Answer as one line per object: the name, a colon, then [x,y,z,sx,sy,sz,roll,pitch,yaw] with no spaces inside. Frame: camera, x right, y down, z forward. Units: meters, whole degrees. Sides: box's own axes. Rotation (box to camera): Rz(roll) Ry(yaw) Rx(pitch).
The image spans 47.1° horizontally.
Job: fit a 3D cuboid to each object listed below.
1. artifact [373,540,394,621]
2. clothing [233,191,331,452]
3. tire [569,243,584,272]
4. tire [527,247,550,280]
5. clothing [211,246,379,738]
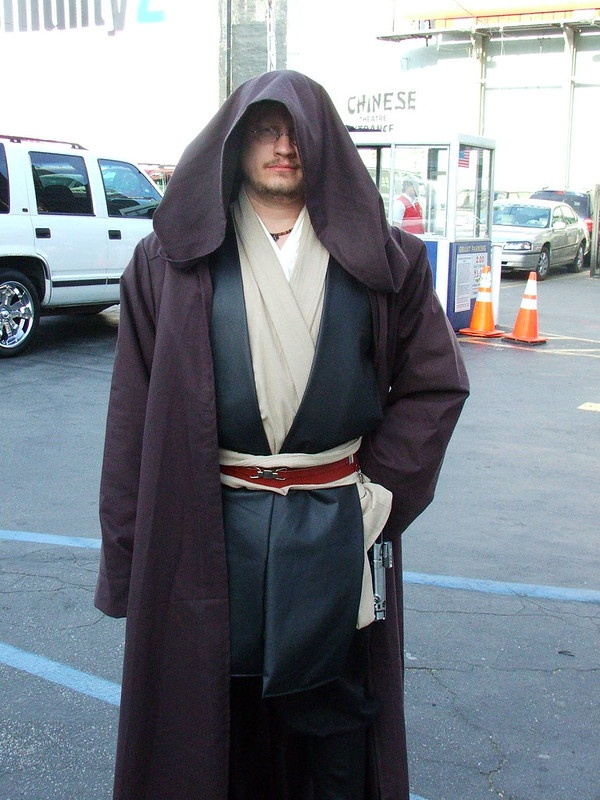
artifact: [0.177,0.379,1.455,0.062,0.162,0.035,-10,-18,23]
clothing: [-0.038,-0.160,1.369,0.185,0.491,0.241,0,11,-5]
tire: [7.753,-4.030,19.360,0.239,0.790,0.747,6,7,31]
tire: [6.137,-3.458,17.566,0.293,0.802,1.057,7,13,28]
clothing: [-0.010,0.232,1.393,0.363,1.143,0.260,0,-5,0]
